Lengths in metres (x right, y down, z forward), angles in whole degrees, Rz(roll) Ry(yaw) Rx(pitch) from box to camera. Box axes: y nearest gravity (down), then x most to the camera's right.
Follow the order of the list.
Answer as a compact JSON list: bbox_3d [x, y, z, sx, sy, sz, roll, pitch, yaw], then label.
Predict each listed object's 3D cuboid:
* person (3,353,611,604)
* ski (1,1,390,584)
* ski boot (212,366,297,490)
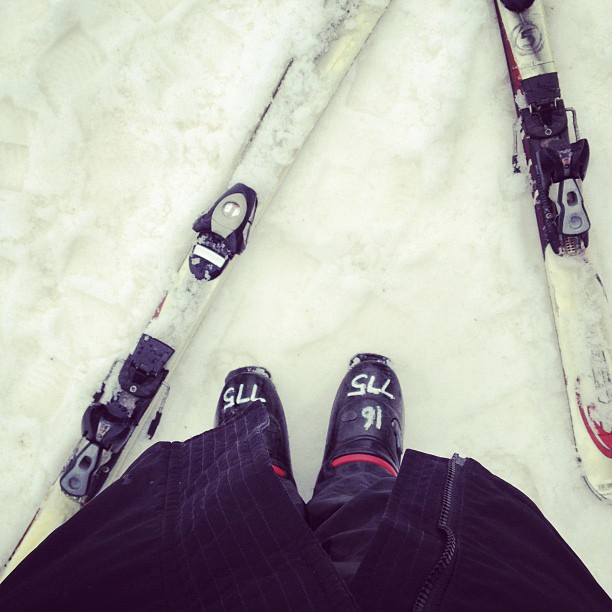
[{"bbox_3d":[0.153,0.716,2.506,1.500,1.539,0.903,5,71,15],"label":"person"},{"bbox_3d":[-0.547,-0.156,3.000,0.244,0.217,3.167,33,97,6],"label":"ski"},{"bbox_3d":[-0.246,0.468,3.077,0.234,0.271,0.682,-3,79,-3],"label":"ski boot"}]
